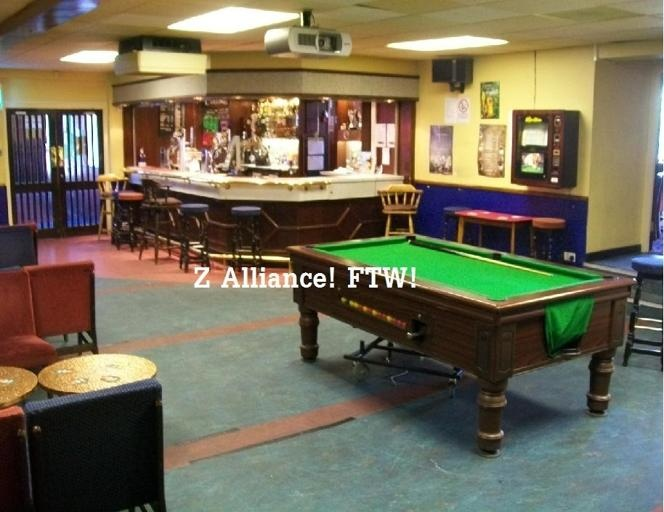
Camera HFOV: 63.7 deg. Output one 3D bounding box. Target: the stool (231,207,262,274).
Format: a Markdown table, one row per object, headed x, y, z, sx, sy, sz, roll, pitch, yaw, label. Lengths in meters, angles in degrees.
| x | y | z | sx | sy | sz | roll | pitch | yaw | label |
| --- | --- | --- | --- | --- | --- | --- | --- | --- | --- |
| -1.428 | -0.272 | 8.809 | 0.522 | 1.089 | 0.514 | -1 | 6 | -15 | stool |

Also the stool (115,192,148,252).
| x | y | z | sx | sy | sz | roll | pitch | yaw | label |
| --- | --- | --- | --- | --- | --- | --- | --- | --- | --- |
| -4.080 | -0.794 | 10.930 | 0.706 | 1.383 | 0.673 | -6 | 11 | -40 | stool |

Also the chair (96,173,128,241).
| x | y | z | sx | sy | sz | roll | pitch | yaw | label |
| --- | --- | --- | --- | --- | --- | --- | --- | --- | --- |
| -5.061 | -1.268 | 11.988 | 0.773 | 1.838 | 0.856 | -9 | 15 | -38 | chair |

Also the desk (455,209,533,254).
| x | y | z | sx | sy | sz | roll | pitch | yaw | label |
| --- | --- | --- | --- | --- | --- | --- | --- | --- | --- |
| 2.576 | -0.373 | 8.696 | 0.924 | 0.618 | 0.463 | 10 | 21 | 34 | desk |

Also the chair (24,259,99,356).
| x | y | z | sx | sy | sz | roll | pitch | yaw | label |
| --- | --- | --- | --- | --- | --- | --- | --- | --- | --- |
| -2.493 | 0.487 | 5.116 | 0.590 | 0.904 | 0.652 | -7 | 15 | -40 | chair |

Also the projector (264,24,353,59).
| x | y | z | sx | sy | sz | roll | pitch | yaw | label |
| --- | --- | --- | --- | --- | --- | --- | --- | --- | --- |
| -0.264 | -2.381 | 5.945 | 0.952 | 0.300 | 0.450 | 0 | 13 | -5 | projector |
